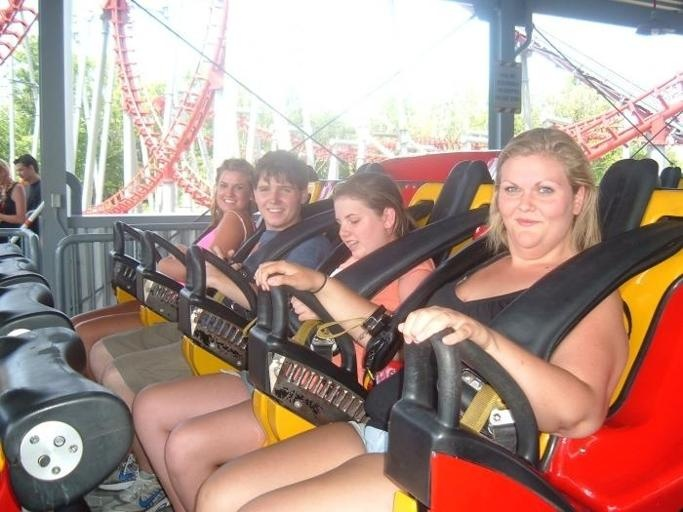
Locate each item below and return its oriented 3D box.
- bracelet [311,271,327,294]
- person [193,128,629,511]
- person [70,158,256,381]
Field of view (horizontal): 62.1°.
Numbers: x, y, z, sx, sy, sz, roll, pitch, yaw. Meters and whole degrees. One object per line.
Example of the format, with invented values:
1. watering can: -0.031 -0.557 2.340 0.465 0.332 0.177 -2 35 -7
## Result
1. bracelet: -0.045 0.064 1.305 0.041 0.044 0.010 -32 48 -21
2. person: 0.181 0.119 1.297 0.963 0.736 0.684 -7 9 -22
3. person: -0.603 -0.011 2.330 0.868 1.047 0.619 -5 15 -17
